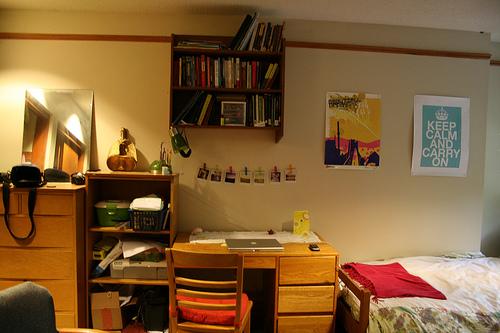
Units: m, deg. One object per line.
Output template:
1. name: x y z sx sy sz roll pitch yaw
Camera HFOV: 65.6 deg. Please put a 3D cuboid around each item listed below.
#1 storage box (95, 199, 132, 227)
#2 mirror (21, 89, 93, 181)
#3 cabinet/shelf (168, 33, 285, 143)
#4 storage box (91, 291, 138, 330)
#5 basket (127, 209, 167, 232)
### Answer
1. storage box: -1.437 0.508 4.259 0.393 0.249 0.365 0 3 -15
2. mirror: -2.156 -0.315 4.310 0.895 1.293 0.053 3 6 -3
3. cabinet/shelf: -0.265 -0.901 4.233 1.173 1.099 0.397 1 -1 -4
4. storage box: -1.500 1.526 4.222 0.359 0.298 0.392 0 -3 -7
5. basket: -1.118 0.562 4.188 0.284 0.210 0.398 14 -16 -18
